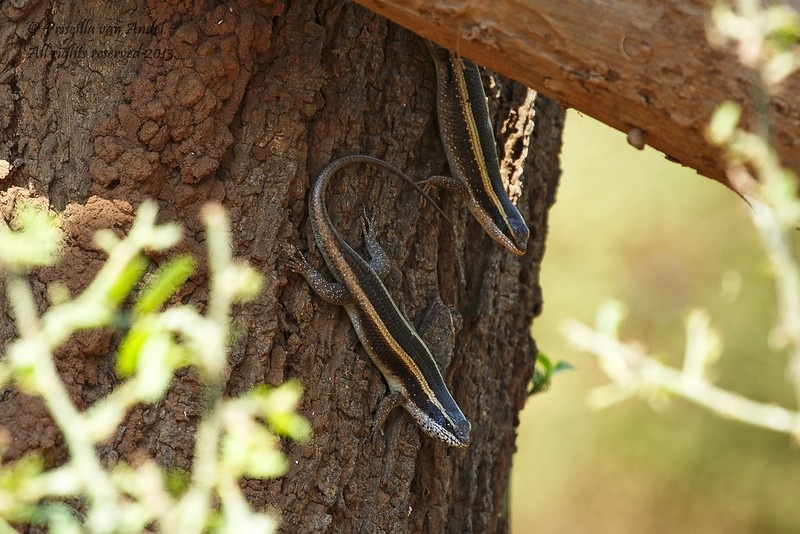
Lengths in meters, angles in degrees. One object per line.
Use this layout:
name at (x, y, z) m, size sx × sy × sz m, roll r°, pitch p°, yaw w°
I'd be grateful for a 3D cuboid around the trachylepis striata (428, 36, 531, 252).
trachylepis striata at (0.372, -0.660, 5.921) m, size 0.155 × 1.218 × 0.440 m, roll -11°, pitch 21°, yaw 15°

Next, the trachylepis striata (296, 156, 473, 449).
trachylepis striata at (-0.112, 0.235, 5.668) m, size 0.181 × 1.442 × 0.904 m, roll -6°, pitch 16°, yaw 42°
